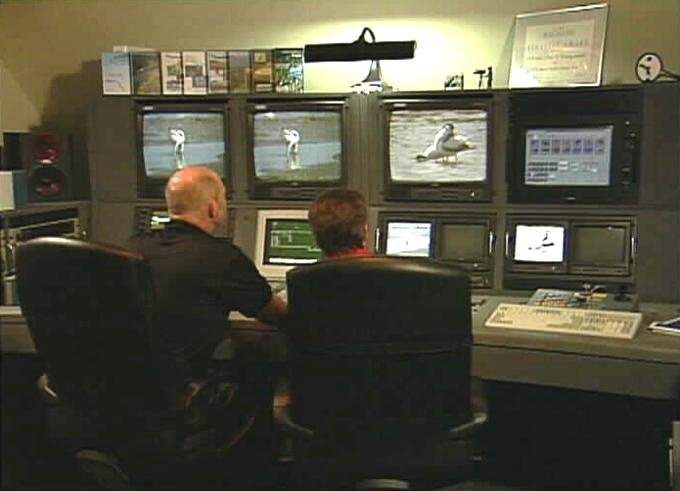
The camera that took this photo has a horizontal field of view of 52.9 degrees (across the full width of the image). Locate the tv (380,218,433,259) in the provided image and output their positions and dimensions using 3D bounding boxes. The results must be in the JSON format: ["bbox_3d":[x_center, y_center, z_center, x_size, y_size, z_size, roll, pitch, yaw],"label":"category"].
[{"bbox_3d":[0.378,-0.034,3.834,0.253,0.219,0.059,3,-3,14],"label":"tv"}]

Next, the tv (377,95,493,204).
[{"bbox_3d":[0.641,-0.569,3.933,0.702,0.613,0.363,4,11,37],"label":"tv"}]

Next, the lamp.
[{"bbox_3d":[0.114,-1.055,3.876,0.626,0.344,0.127,1,12,4],"label":"lamp"}]

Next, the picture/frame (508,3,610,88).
[{"bbox_3d":[1.201,-1.071,3.712,0.687,0.559,0.068,0,-10,21],"label":"picture/frame"}]

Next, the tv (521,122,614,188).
[{"bbox_3d":[1.312,-0.501,3.732,0.285,0.335,0.533,-10,11,-40],"label":"tv"}]

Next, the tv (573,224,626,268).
[{"bbox_3d":[1.377,0.002,3.608,0.267,0.205,0.068,2,6,9],"label":"tv"}]

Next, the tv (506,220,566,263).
[{"bbox_3d":[1.068,-0.009,3.715,0.316,0.207,0.070,3,-7,-15],"label":"tv"}]

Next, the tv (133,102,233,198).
[{"bbox_3d":[-0.920,-0.569,4.184,0.638,0.572,0.326,-1,-6,2],"label":"tv"}]

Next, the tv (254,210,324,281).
[{"bbox_3d":[-0.289,0.027,4.009,0.448,0.401,0.398,1,-4,-2],"label":"tv"}]

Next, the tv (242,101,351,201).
[{"bbox_3d":[-0.196,-0.576,4.099,0.640,0.566,0.346,1,8,17],"label":"tv"}]

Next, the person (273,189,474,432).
[{"bbox_3d":[0.148,0.307,2.830,0.718,0.790,0.707,0,6,10],"label":"person"}]
